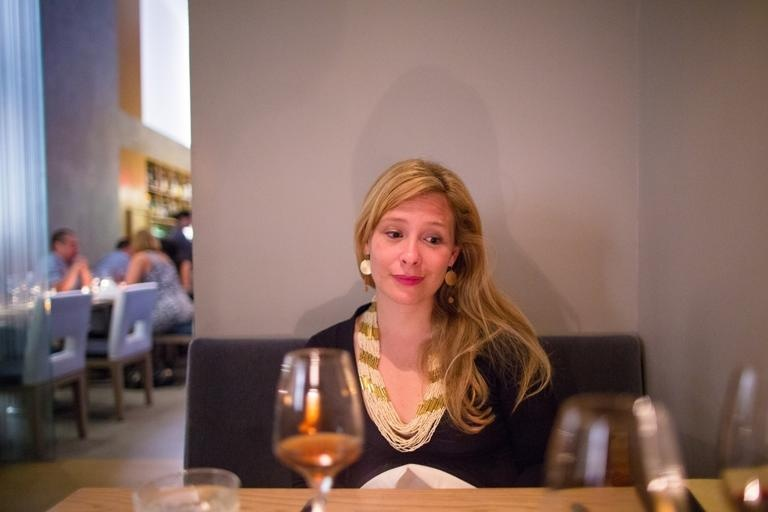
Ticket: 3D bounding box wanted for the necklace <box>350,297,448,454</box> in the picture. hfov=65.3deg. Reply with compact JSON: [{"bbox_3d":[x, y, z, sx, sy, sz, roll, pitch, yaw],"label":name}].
[{"bbox_3d":[0.032,0.499,2.506,0.419,0.572,0.248,0,1,42],"label":"necklace"}]
